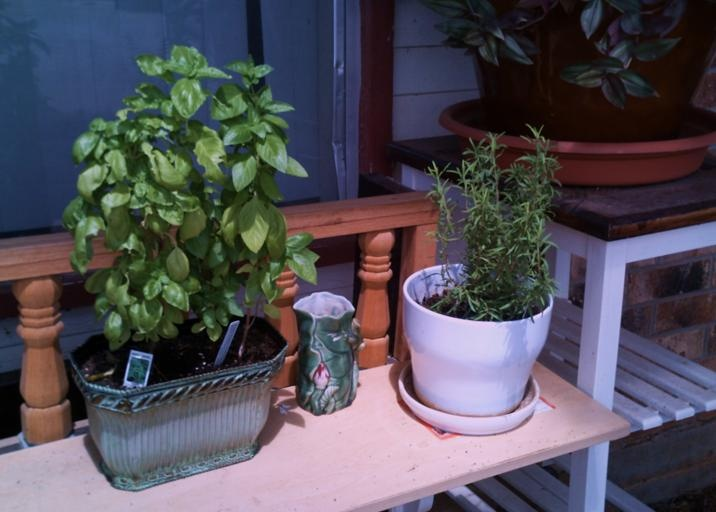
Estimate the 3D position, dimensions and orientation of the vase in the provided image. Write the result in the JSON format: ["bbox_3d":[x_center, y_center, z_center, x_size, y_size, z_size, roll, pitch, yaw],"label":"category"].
[{"bbox_3d":[-0.066,0.207,1.185,0.125,0.208,0.131,7,12,24],"label":"vase"}]

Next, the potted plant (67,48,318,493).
[{"bbox_3d":[-0.299,0.001,1.033,0.438,0.701,0.320,-7,23,-15],"label":"potted plant"}]

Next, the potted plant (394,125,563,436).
[{"bbox_3d":[0.242,0.056,1.120,0.257,0.501,0.263,3,17,-1],"label":"potted plant"}]
